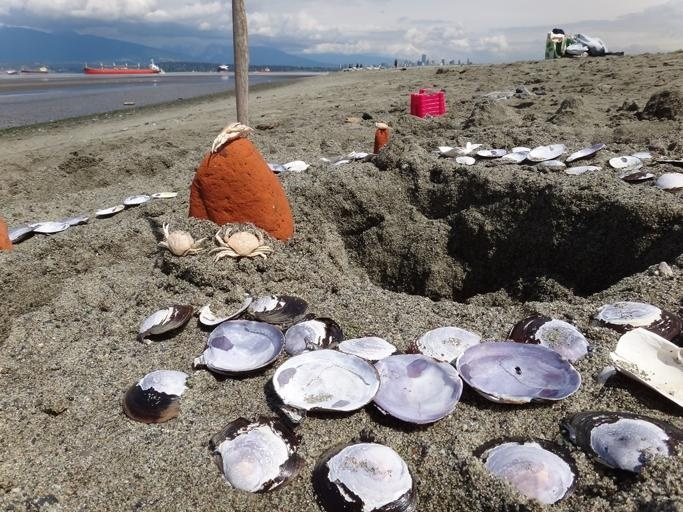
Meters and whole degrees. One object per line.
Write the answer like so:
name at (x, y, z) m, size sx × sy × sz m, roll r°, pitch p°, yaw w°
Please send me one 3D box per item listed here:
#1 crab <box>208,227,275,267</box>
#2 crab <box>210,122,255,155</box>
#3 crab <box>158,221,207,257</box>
crab at (-1.026, -0.125, 5.508) m, size 0.548 × 0.169 × 0.364 m, roll -3°, pitch 57°, yaw -15°
crab at (-1.164, -1.254, 5.633) m, size 0.474 × 0.266 × 0.314 m, roll -20°, pitch 36°, yaw -26°
crab at (-1.643, -0.158, 5.583) m, size 0.555 × 0.268 × 0.340 m, roll 14°, pitch 36°, yaw 26°
